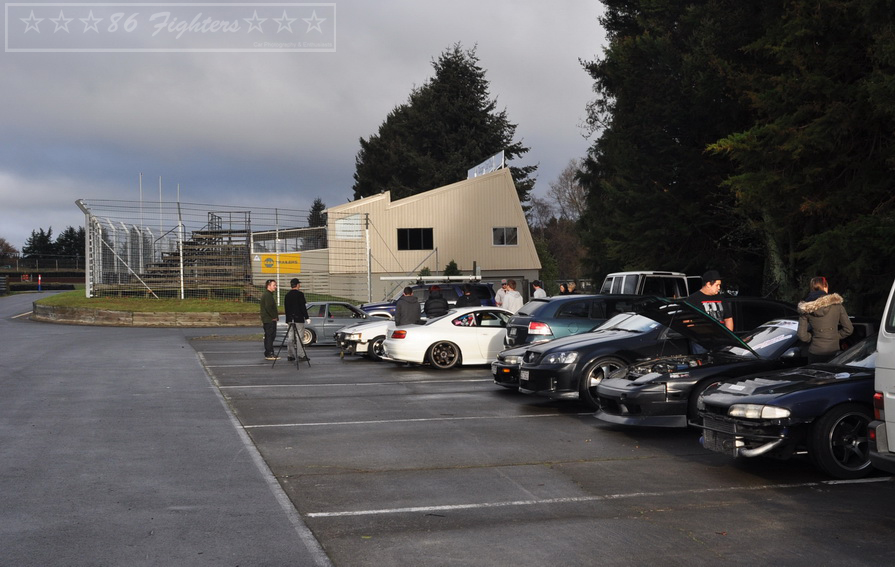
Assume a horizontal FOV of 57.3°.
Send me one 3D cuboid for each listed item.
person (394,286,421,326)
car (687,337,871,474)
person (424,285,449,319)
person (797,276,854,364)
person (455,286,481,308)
[{"bbox_3d":[-1.156,0.615,22.735,0.673,1.007,1.107,-1,-2,-4],"label":"person"},{"bbox_3d":[4.914,1.902,11.534,2.508,1.055,1.305,-6,2,-16],"label":"car"},{"bbox_3d":[-0.344,0.609,23.833,0.591,0.770,0.779,-1,-2,-11],"label":"person"},{"bbox_3d":[6.212,0.979,13.514,0.759,2.165,0.680,-7,17,19],"label":"person"},{"bbox_3d":[0.627,0.454,25.556,0.496,0.251,0.824,1,21,-3],"label":"person"}]
